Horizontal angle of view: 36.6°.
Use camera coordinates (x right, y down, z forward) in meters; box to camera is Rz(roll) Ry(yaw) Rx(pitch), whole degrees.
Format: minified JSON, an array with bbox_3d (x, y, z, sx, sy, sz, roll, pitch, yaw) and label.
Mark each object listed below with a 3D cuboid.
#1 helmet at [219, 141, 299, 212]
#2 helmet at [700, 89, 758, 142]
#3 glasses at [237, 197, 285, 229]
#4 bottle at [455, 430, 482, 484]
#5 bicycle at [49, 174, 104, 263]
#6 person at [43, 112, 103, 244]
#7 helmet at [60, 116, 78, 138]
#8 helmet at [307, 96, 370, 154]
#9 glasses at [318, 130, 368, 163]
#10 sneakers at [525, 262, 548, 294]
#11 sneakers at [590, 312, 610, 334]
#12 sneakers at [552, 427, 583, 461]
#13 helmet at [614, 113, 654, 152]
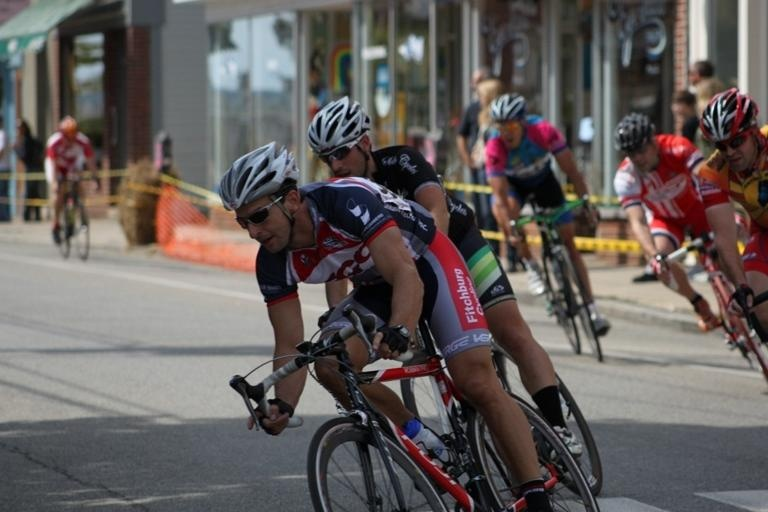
[{"bbox_3d":[-0.890,-0.605,8.277,0.382,0.333,0.555,5,28,47],"label":"helmet"},{"bbox_3d":[2.986,-1.214,9.961,0.593,0.456,0.457,-9,-2,-42],"label":"helmet"},{"bbox_3d":[-0.895,-0.331,8.218,0.208,0.084,0.274,-31,10,49],"label":"glasses"},{"bbox_3d":[0.627,1.531,8.825,0.196,0.368,0.153,-18,-18,14],"label":"bottle"},{"bbox_3d":[-2.934,-0.360,11.080,0.295,0.467,0.679,-1,-1,-4],"label":"bicycle"},{"bbox_3d":[-2.920,-0.714,10.826,0.477,1.187,0.166,-4,11,-23],"label":"person"},{"bbox_3d":[-2.896,-1.221,10.754,0.133,0.165,0.173,-26,10,6],"label":"helmet"},{"bbox_3d":[-0.356,-1.060,9.221,0.329,0.300,0.510,7,37,31],"label":"helmet"},{"bbox_3d":[-0.342,-0.847,9.217,0.275,0.086,0.228,-43,11,-29],"label":"glasses"},{"bbox_3d":[1.742,0.213,13.527,0.186,0.170,0.681,-3,-36,16],"label":"sneakers"},{"bbox_3d":[2.304,0.754,12.444,0.210,0.250,0.135,16,-22,-28],"label":"sneakers"},{"bbox_3d":[1.403,1.411,8.840,0.098,0.240,0.176,-39,-6,15],"label":"sneakers"},{"bbox_3d":[2.507,-1.263,11.614,0.320,0.242,0.469,-6,27,45],"label":"helmet"}]
